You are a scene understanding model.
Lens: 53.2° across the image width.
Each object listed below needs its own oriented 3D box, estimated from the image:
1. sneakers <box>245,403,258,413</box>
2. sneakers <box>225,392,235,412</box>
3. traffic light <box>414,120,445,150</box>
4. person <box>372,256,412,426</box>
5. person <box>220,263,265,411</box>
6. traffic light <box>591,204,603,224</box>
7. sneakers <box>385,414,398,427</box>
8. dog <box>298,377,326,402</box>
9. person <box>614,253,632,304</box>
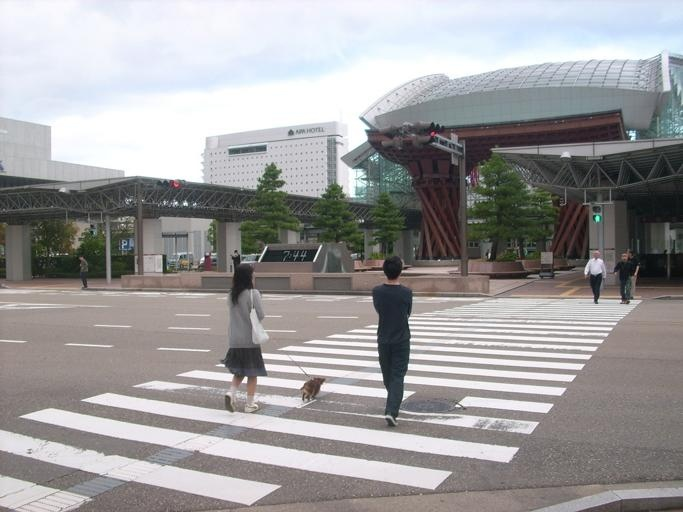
[{"bbox_3d":[-1.279,2.140,9.622,0.079,0.092,0.208,4,6,26],"label":"sneakers"},{"bbox_3d":[-1.540,2.003,9.396,0.101,0.278,0.115,-1,7,7],"label":"sneakers"},{"bbox_3d":[2.977,-4.356,24.408,0.865,0.805,1.309,-1,3,7],"label":"traffic light"},{"bbox_3d":[0.685,1.116,9.150,0.505,2.202,0.699,-1,3,3],"label":"person"},{"bbox_3d":[-1.390,1.153,9.671,0.585,2.064,0.649,-2,3,-10],"label":"person"},{"bbox_3d":[11.589,-1.879,31.077,0.407,0.828,1.084,0,3,20],"label":"traffic light"},{"bbox_3d":[0.641,2.158,8.949,0.086,0.094,0.236,0,-37,25],"label":"sneakers"},{"bbox_3d":[-0.456,1.987,10.220,0.413,0.294,0.294,-3,3,-30],"label":"dog"},{"bbox_3d":[9.652,0.724,23.409,0.482,1.644,2.138,0,3,22],"label":"person"}]
